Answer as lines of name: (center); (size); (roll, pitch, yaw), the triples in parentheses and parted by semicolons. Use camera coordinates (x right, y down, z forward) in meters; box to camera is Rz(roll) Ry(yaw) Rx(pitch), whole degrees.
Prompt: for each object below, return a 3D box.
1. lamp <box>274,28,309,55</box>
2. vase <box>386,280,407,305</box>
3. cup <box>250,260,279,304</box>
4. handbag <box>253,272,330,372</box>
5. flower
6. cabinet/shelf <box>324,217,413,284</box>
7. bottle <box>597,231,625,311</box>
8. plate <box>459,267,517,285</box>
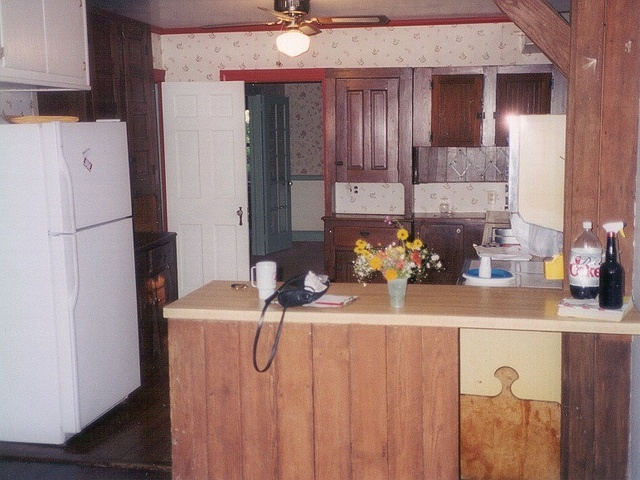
lamp: (-0.205, -1.459, 4.428); (0.173, 0.073, 0.180); (0, 2, 9)
vase: (0.376, 0.252, 2.979); (0.086, 0.143, 0.097); (0, 7, 2)
cup: (-0.318, 0.211, 3.175); (0.171, 0.184, 0.112); (3, 5, 8)
handbag: (-0.167, 0.379, 2.993); (0.122, 0.525, 0.337); (27, -6, -42)
flower: (0.393, 0.079, 3.033); (0.349, 0.220, 0.316); (-18, 7, -24)
cabinet/shelf: (0.505, 0.127, 6.372); (0.940, 0.923, 0.387); (1, 23, 7)
bottle: (1.324, 0.144, 2.749); (0.092, 0.342, 0.045); (1, 7, 15)
plate: (1.049, 0.229, 3.765); (0.321, 0.068, 0.321); (1, 8, 12)
